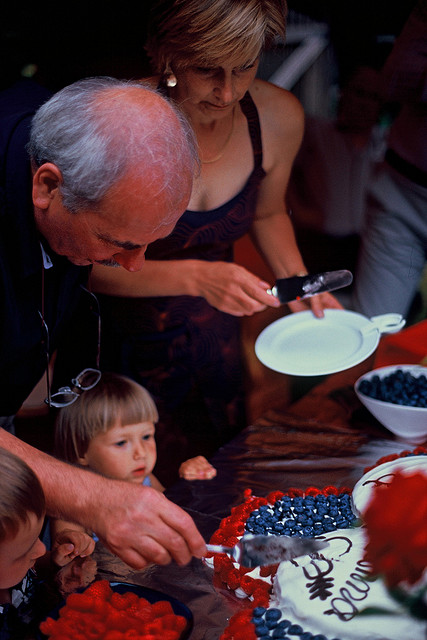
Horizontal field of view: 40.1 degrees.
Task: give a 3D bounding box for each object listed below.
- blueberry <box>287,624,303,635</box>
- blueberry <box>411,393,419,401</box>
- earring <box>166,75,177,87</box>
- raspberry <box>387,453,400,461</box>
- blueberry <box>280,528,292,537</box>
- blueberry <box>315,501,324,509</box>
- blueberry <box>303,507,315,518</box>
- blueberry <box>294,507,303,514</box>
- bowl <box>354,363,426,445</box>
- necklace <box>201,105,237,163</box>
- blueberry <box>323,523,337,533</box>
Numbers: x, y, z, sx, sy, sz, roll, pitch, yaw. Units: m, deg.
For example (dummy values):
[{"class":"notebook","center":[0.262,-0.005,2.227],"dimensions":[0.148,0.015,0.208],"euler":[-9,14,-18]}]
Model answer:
[{"class":"blueberry","center":[0.119,0.450,0.855],"dimensions":[0.022,0.008,0.020],"euler":[0,26,6]},{"class":"blueberry","center":[0.472,0.181,1.374],"dimensions":[0.012,0.006,0.012],"euler":[11,28,39]},{"class":"earring","center":[-0.103,-0.590,1.452],"dimensions":[0.027,0.027,0.042],"euler":[-5,27,-2]},{"class":"raspberry","center":[0.398,0.304,1.294],"dimensions":[0.029,0.012,0.035],"euler":[-3,-2,5]},{"class":"blueberry","center":[0.134,0.391,1.080],"dimensions":[0.014,0.006,0.011],"euler":[-7,1,32]},{"class":"blueberry","center":[0.208,0.363,1.152],"dimensions":[0.012,0.003,0.009],"euler":[-15,22,21]},{"class":"blueberry","center":[0.183,0.372,1.124],"dimensions":[0.014,0.004,0.013],"euler":[-18,27,-24]},{"class":"blueberry","center":[0.165,0.370,1.136],"dimensions":[0.014,0.006,0.018],"euler":[4,-1,4]},{"class":"bowl","center":[0.463,0.219,1.435],"dimensions":[0.201,0.179,0.208],"euler":[-1,15,0]},{"class":"necklace","center":[0.022,-0.544,1.730],"dimensions":[0.032,0.145,0.140],"euler":[20,36,37]},{"class":"blueberry","center":[0.216,0.387,1.087],"dimensions":[0.014,0.010,0.017],"euler":[1,4,-1]}]
